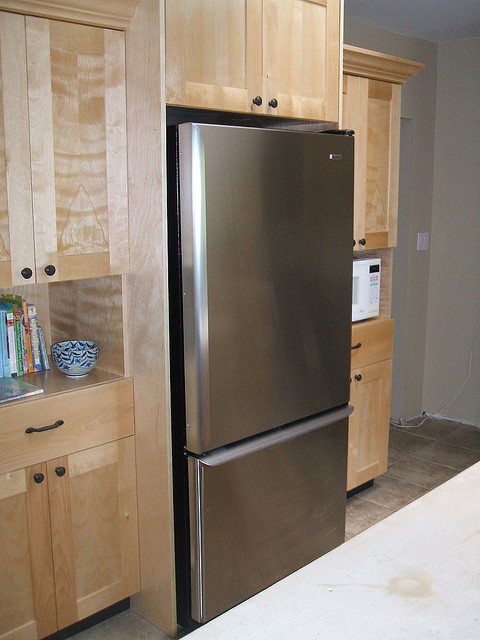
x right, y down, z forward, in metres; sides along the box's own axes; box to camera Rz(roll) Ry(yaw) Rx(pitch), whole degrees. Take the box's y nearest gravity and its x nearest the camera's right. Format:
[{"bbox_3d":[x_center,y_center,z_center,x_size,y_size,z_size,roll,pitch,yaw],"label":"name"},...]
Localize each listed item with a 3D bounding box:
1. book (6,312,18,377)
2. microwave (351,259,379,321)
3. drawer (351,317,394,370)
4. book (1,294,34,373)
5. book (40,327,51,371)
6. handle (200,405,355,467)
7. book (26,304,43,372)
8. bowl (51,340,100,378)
[{"bbox_3d":[-0.721,0.074,1.724,0.020,0.223,0.149,-4,11,-17],"label":"book"},{"bbox_3d":[0.589,-0.148,2.597,0.153,0.260,0.228,6,11,43],"label":"microwave"},{"bbox_3d":[0.611,0.107,2.646,0.322,0.225,0.191,-11,14,-43],"label":"drawer"},{"bbox_3d":[-0.714,0.048,1.743,0.099,0.204,0.186,-8,13,-33],"label":"book"},{"bbox_3d":[-0.682,0.103,1.912,0.018,0.166,0.112,-7,10,-14],"label":"book"},{"bbox_3d":[0.132,0.391,1.814,0.560,0.111,0.029,-15,40,-15],"label":"handle"},{"bbox_3d":[-0.681,0.069,1.805,0.021,0.251,0.163,-5,13,-18],"label":"book"},{"bbox_3d":[-0.529,0.112,1.754,0.111,0.093,0.128,0,0,-1],"label":"bowl"}]
